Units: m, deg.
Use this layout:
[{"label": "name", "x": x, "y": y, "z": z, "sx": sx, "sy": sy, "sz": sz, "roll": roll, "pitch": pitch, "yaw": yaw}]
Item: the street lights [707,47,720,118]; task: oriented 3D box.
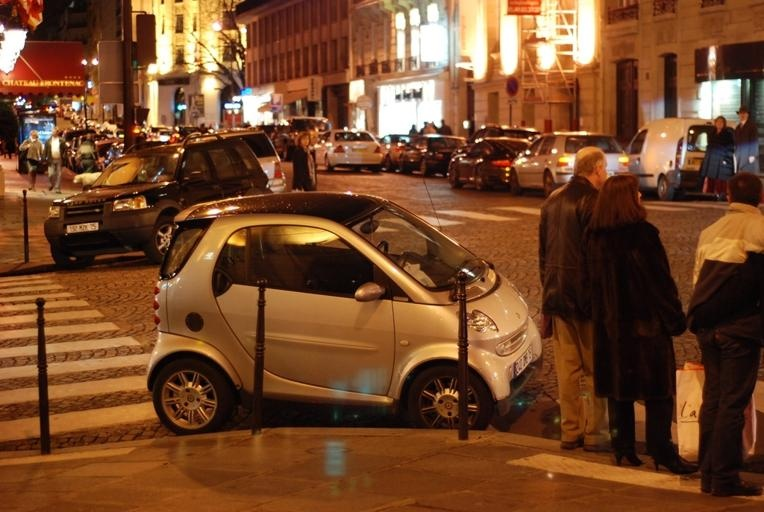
[{"label": "street lights", "x": 13.305, "y": -7.079, "z": 29.583, "sx": 0.256, "sy": 2.596, "sz": 0.609, "roll": -4, "pitch": 8, "yaw": 6}]

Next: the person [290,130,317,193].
[{"label": "person", "x": -2.099, "y": -2.452, "z": 19.378, "sx": 0.601, "sy": 1.541, "sz": 1.236, "roll": -6, "pitch": 9, "yaw": -6}]

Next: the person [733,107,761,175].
[{"label": "person", "x": 10.137, "y": -3.205, "z": 20.493, "sx": 0.564, "sy": 1.798, "sz": 1.370, "roll": 0, "pitch": 10, "yaw": 28}]

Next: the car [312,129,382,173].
[{"label": "car", "x": -1.493, "y": -5.201, "z": 36.867, "sx": 2.962, "sy": 2.215, "sz": 1.431, "roll": -4, "pitch": 9, "yaw": 7}]

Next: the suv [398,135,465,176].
[{"label": "suv", "x": 2.102, "y": -4.633, "z": 33.845, "sx": 1.486, "sy": 1.045, "sz": 3.189, "roll": -3, "pitch": 13, "yaw": -15}]

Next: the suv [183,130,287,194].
[{"label": "suv", "x": -3.540, "y": -2.542, "z": 19.363, "sx": 1.891, "sy": 0.955, "sz": 0.973, "roll": -11, "pitch": 52, "yaw": 6}]

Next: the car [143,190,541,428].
[{"label": "car", "x": -0.417, "y": 0.458, "z": 7.104, "sx": 3.368, "sy": 1.873, "sz": 1.893, "roll": 0, "pitch": 12, "yaw": 13}]

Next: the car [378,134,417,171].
[{"label": "car", "x": 0.692, "y": -5.431, "z": 38.992, "sx": 1.345, "sy": 1.132, "sz": 2.397, "roll": -2, "pitch": 14, "yaw": 0}]

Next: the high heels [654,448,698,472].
[{"label": "high heels", "x": 2.072, "y": 1.466, "z": 5.321, "sx": 0.385, "sy": 0.192, "sz": 0.130, "roll": -4, "pitch": 8, "yaw": 10}]

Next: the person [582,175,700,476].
[{"label": "person", "x": 1.858, "y": 0.499, "z": 5.298, "sx": 0.667, "sy": 2.152, "sz": 0.344, "roll": -2, "pitch": 9, "yaw": 17}]

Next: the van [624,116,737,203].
[{"label": "van", "x": 9.078, "y": -3.077, "z": 22.352, "sx": 1.932, "sy": 1.686, "sz": 3.198, "roll": -5, "pitch": 15, "yaw": -13}]

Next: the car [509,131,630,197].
[{"label": "car", "x": 6.063, "y": -2.716, "z": 24.373, "sx": 2.466, "sy": 2.127, "sz": 4.712, "roll": 17, "pitch": 6, "yaw": -10}]

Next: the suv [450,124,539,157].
[{"label": "suv", "x": 4.516, "y": -4.858, "z": 30.190, "sx": 1.750, "sy": 1.555, "sz": 3.034, "roll": -5, "pitch": 13, "yaw": -25}]
